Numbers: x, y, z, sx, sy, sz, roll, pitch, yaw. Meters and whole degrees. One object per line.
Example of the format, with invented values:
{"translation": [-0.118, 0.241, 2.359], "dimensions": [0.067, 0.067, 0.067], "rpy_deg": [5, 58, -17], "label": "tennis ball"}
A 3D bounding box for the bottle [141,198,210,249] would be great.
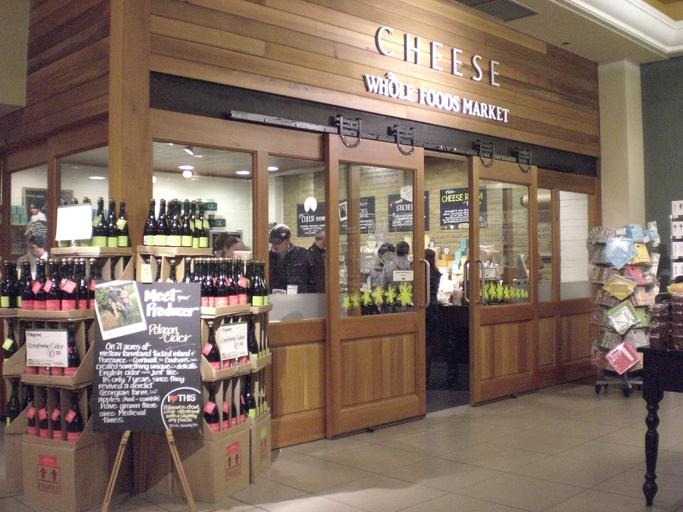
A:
{"translation": [-1.227, -0.237, 4.163], "dimensions": [0.471, 0.366, 0.275], "rpy_deg": [0, 0, -16], "label": "bottle"}

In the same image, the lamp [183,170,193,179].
{"translation": [-1.279, -0.677, 4.642], "dimensions": [0.032, 0.078, 0.094], "rpy_deg": [0, 0, 37], "label": "lamp"}

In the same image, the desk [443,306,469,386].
{"translation": [1.650, 1.254, 8.063], "dimensions": [0.331, 1.150, 0.864], "rpy_deg": [0, 0, 10], "label": "desk"}

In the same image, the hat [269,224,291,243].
{"translation": [-0.562, -0.193, 5.063], "dimensions": [0.131, 0.094, 0.183], "rpy_deg": [7, 5, 20], "label": "hat"}

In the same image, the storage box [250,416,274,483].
{"translation": [-0.630, 1.521, 4.375], "dimensions": [0.152, 0.404, 0.470], "rpy_deg": [-2, -4, 8], "label": "storage box"}

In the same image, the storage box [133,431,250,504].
{"translation": [-1.091, 1.510, 4.138], "dimensions": [0.603, 0.381, 0.614], "rpy_deg": [-3, -4, 31], "label": "storage box"}

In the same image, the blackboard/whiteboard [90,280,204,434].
{"translation": [-1.318, 0.700, 3.782], "dimensions": [1.021, 1.374, 0.069], "rpy_deg": [-1, -3, -1], "label": "blackboard/whiteboard"}

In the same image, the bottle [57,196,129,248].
{"translation": [-1.820, -0.218, 4.229], "dimensions": [0.423, 0.406, 0.421], "rpy_deg": [0, 1, 15], "label": "bottle"}
